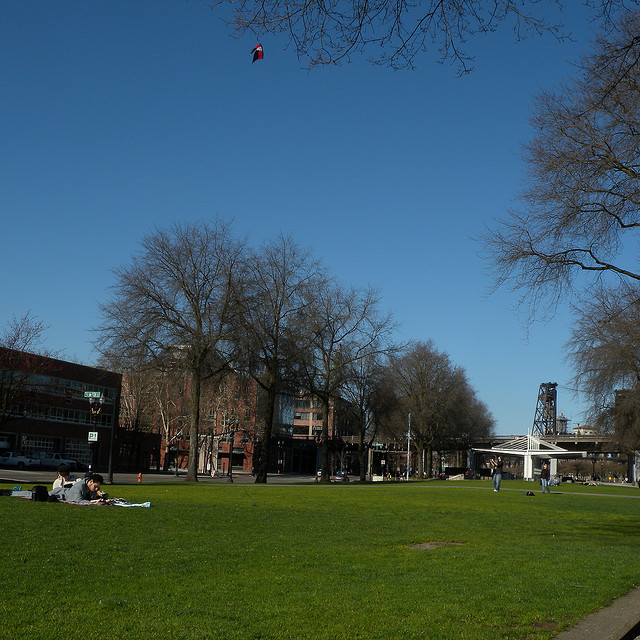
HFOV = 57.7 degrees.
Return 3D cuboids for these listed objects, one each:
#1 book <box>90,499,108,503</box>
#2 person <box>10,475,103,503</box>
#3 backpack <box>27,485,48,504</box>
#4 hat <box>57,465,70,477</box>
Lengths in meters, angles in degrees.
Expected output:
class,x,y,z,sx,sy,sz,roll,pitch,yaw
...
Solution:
class,x,y,z,sx,sy,sz,roll,pitch,yaw
book,-6.311,5.169,16.590,0.465,0.081,0.286,9,-15,-23
person,-7.665,4.939,16.892,2.178,0.816,1.003,-1,8,5
backpack,-8.089,5.021,16.806,0.467,0.704,0.485,4,-13,-10
hat,-7.787,4.603,17.726,0.328,0.462,0.434,1,-3,-15
